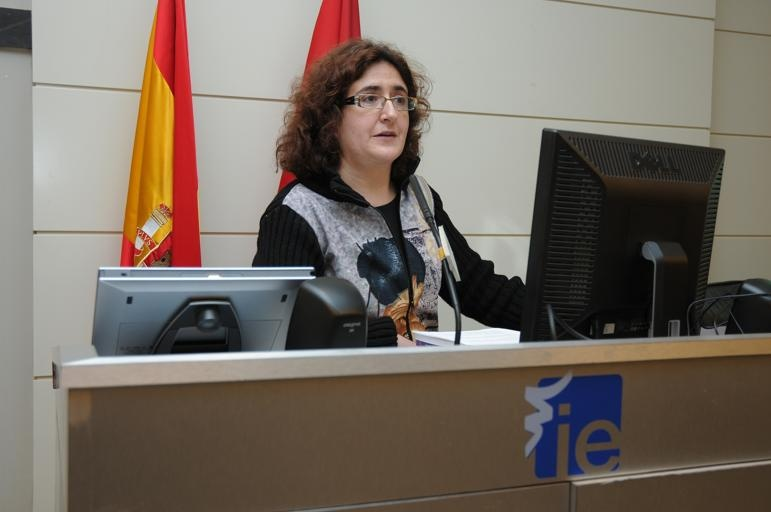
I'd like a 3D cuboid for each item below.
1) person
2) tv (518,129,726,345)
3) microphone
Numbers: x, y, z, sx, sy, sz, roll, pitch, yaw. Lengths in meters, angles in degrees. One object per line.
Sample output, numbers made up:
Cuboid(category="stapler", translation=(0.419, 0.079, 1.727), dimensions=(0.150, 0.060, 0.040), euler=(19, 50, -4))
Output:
Cuboid(category="person", translation=(0.062, -0.131, 3.099), dimensions=(0.912, 1.252, 0.948), euler=(1, -6, -5))
Cuboid(category="tv", translation=(0.789, 0.000, 2.633), dimensions=(0.610, 0.681, 0.213), euler=(1, 7, -15))
Cuboid(category="microphone", translation=(0.183, 0.012, 2.981), dimensions=(0.085, 0.108, 0.840), euler=(32, 30, -33))
